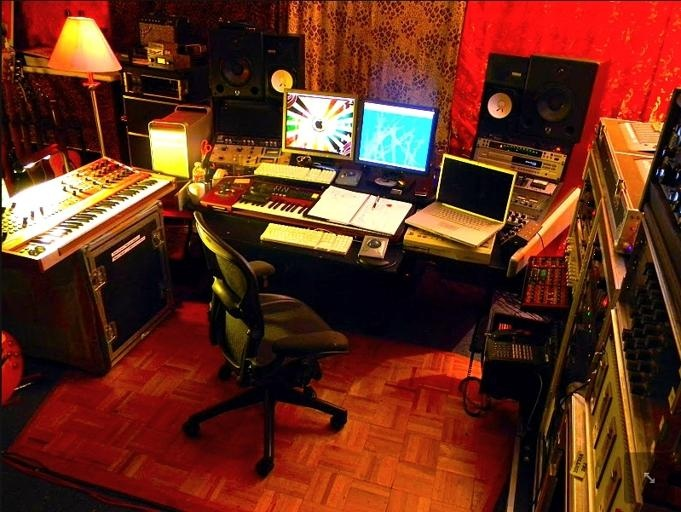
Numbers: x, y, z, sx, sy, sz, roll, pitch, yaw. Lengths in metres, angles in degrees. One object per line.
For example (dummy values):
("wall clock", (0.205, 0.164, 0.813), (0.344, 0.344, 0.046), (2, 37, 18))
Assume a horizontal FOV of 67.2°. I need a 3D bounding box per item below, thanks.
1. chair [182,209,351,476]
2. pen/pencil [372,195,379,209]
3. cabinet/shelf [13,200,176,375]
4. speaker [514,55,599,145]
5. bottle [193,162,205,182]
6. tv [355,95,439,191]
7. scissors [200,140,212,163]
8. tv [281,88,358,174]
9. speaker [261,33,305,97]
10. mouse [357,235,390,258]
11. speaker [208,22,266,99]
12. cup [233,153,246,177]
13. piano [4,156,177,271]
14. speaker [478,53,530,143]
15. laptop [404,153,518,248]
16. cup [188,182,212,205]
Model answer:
("chair", (-0.373, 0.441, 2.739), (0.872, 1.298, 0.684), (12, 31, 15))
("pen/pencil", (0.243, -0.369, 3.442), (0.018, 0.017, 0.160), (18, 38, 8))
("cabinet/shelf", (-1.526, 0.198, 3.120), (0.545, 0.772, 0.769), (10, 31, 17))
("speaker", (1.368, -1.039, 3.197), (0.383, 0.543, 0.274), (20, 52, 26))
("bottle", (-0.997, -0.604, 3.636), (0.091, 0.110, 0.139), (-5, 32, -15))
("tv", (0.376, -0.759, 3.530), (0.597, 0.626, 0.222), (15, 43, 13))
("scissors", (-1.004, -0.774, 3.867), (0.090, 0.238, 0.011), (40, 44, 13))
("tv", (-0.147, -0.898, 3.653), (0.557, 0.521, 0.195), (8, 37, 7))
("speaker", (-0.405, -1.345, 3.743), (0.279, 0.455, 0.257), (1, 8, -6))
("mouse", (0.208, -0.059, 3.154), (0.154, 0.070, 0.193), (10, 32, 11))
("speaker", (-0.755, -1.422, 3.814), (0.389, 0.543, 0.297), (-3, 9, -1))
("cup", (-0.740, -0.683, 3.793), (0.089, 0.114, 0.130), (-1, 31, -7))
("piano", (-1.596, -0.284, 3.061), (0.614, 0.258, 0.951), (21, 41, 16))
("speaker", (1.064, -1.076, 3.318), (0.282, 0.471, 0.287), (21, 31, 26))
("laptop", (0.733, -0.361, 3.142), (0.519, 0.349, 0.470), (20, 36, 34))
("cup", (-0.969, -0.415, 3.556), (0.144, 0.115, 0.160), (3, 46, 1))
